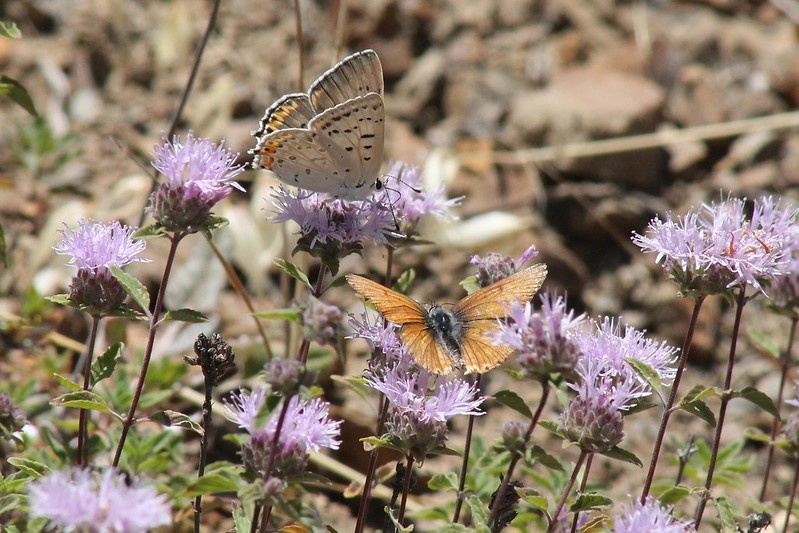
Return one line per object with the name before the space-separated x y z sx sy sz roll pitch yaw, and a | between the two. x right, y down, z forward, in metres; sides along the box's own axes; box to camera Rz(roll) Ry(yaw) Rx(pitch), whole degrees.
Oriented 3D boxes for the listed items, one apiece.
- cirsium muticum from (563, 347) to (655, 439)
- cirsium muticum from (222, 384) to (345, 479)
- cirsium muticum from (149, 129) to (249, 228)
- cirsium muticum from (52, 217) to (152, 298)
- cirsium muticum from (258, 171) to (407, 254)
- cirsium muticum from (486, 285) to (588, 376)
cirsium muticum | 1.099 0.758 5.036 0.473 0.449 0.465 19 83 8
cirsium muticum | -0.666 0.913 4.961 0.530 0.521 0.373 30 74 -16
cirsium muticum | -1.149 -0.463 5.087 0.541 0.399 0.599 -9 57 -6
cirsium muticum | -1.692 -0.100 5.179 0.499 0.457 0.300 25 81 -39
cirsium muticum | -0.328 -0.336 5.192 0.504 0.494 0.255 20 85 -6
cirsium muticum | 0.734 0.367 4.699 0.453 0.445 0.218 14 80 -14
